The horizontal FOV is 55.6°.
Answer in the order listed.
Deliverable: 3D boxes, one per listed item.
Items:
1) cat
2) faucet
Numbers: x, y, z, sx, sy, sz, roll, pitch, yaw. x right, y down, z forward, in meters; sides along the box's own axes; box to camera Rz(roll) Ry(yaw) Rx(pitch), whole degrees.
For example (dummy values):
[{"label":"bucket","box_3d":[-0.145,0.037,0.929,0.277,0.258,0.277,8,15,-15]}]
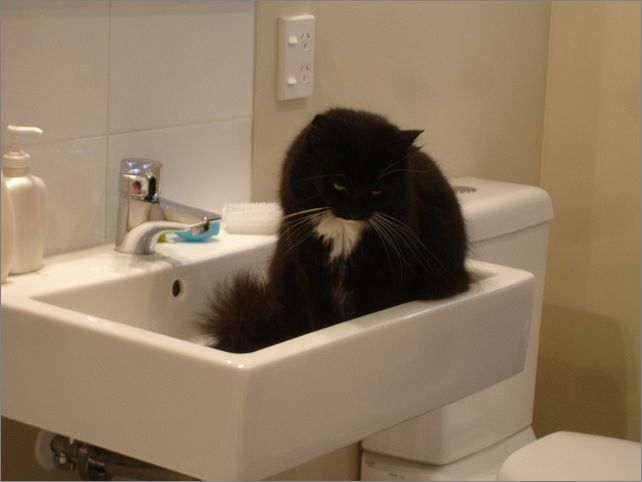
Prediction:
[{"label":"cat","box_3d":[0.016,-0.016,0.916,0.304,0.376,0.374,10,14,39]},{"label":"faucet","box_3d":[-0.240,-0.056,0.981,0.144,0.175,0.125,-16,22,-39]}]
